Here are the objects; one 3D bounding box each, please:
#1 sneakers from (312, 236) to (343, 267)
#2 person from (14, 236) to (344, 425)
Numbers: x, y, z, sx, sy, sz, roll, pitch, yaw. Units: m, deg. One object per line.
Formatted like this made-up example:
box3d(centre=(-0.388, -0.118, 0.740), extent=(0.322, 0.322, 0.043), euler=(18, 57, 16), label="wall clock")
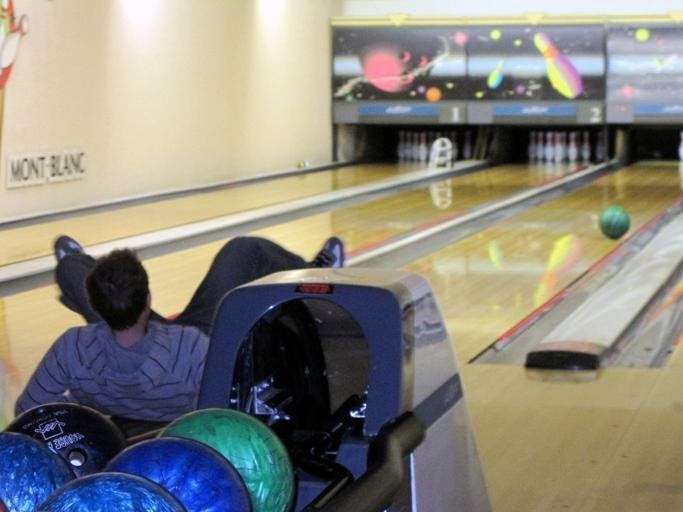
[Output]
box3d(centre=(-0.043, -0.014, 1.754), extent=(0.059, 0.068, 0.169), euler=(18, 62, 14), label="sneakers")
box3d(centre=(-0.503, 0.107, 1.354), extent=(0.865, 0.379, 0.768), euler=(-1, 14, 6), label="person")
